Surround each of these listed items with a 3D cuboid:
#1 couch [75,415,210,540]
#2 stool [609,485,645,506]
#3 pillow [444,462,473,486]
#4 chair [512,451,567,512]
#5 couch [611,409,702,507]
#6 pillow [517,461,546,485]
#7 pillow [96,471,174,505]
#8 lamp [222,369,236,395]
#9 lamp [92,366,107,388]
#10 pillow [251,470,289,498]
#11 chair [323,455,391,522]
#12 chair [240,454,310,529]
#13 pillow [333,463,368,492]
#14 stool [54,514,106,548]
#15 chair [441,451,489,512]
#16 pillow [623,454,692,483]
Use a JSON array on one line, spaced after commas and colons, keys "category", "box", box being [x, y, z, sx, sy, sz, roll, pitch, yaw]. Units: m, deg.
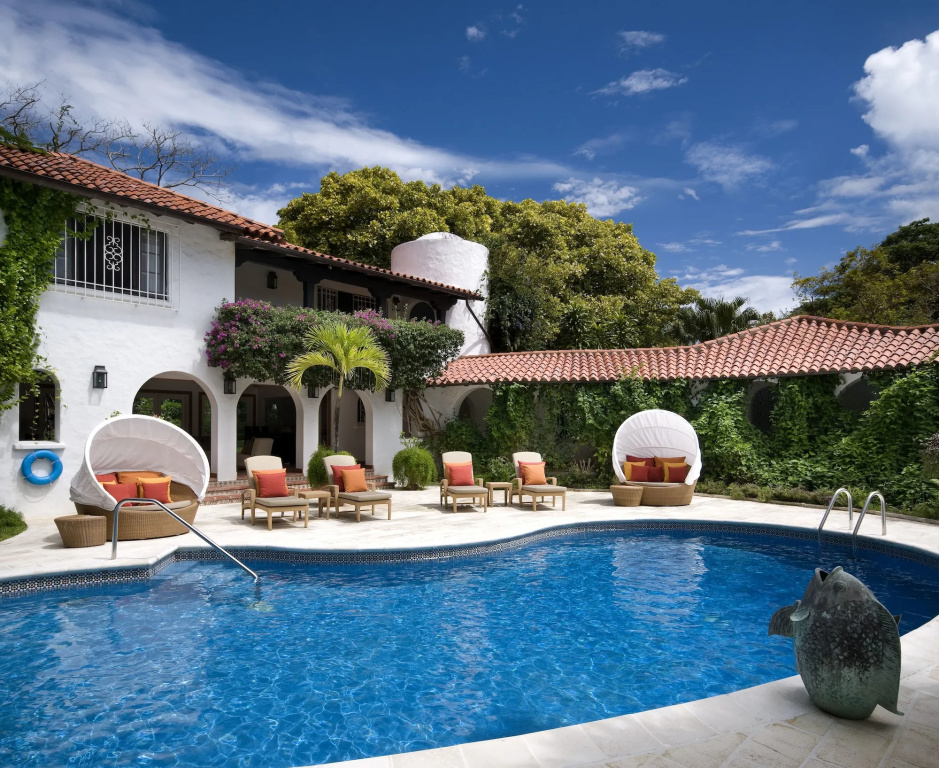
[{"category": "couch", "box": [-5.302, 1.500, 10.888, 2.037, 1.753, 1.995, 9, -4, -22]}, {"category": "stool", "box": [3.372, 2.371, 14.206, 0.555, 0.258, 0.519, -4, -6, 30]}, {"category": "pillow", "box": [-0.210, 1.887, 13.917, 0.610, 0.418, 0.449, 1, 4, -1]}, {"category": "chair", "box": [1.494, 2.087, 14.423, 0.879, 1.020, 1.385, 2, -1, -15]}, {"category": "couch", "box": [4.235, 1.583, 14.855, 1.822, 1.998, 2.118, -2, -1, 2]}, {"category": "pillow", "box": [1.405, 1.961, 14.558, 0.593, 0.423, 0.874, 1, 3, -5]}, {"category": "pillow", "box": [-5.438, 1.709, 10.783, 1.131, 0.440, 1.327, -1, 3, -27]}, {"category": "lamp", "box": [-5.412, -0.059, 14.882, 0.277, 0.582, 0.581, 0, 4, -19]}, {"category": "lamp", "box": [-7.092, -0.129, 12.723, 0.160, 0.463, 0.292, 4, 5, 33]}, {"category": "pillow", "box": [-3.609, 1.791, 11.953, 0.522, 0.436, 0.575, -1, 4, -26]}, {"category": "chair", "box": [-2.203, 1.950, 12.797, 0.820, 1.051, 1.719, 1, -3, -34]}, {"category": "chair", "box": [-3.511, 1.914, 11.881, 0.903, 0.998, 1.494, 2, -1, -32]}, {"category": "pillow", "box": [-2.285, 1.847, 12.802, 0.644, 0.448, 0.617, 0, 4, -10]}, {"category": "stool", "box": [-5.747, 2.150, 9.760, 0.584, 0.317, 0.511, 2, -2, -9]}, {"category": "chair", "box": [-0.116, 2.012, 13.797, 0.939, 0.965, 1.336, 2, 1, -13]}, {"category": "pillow", "box": [4.206, 1.899, 14.807, 1.453, 0.462, 0.767, 2, 4, 18]}]
